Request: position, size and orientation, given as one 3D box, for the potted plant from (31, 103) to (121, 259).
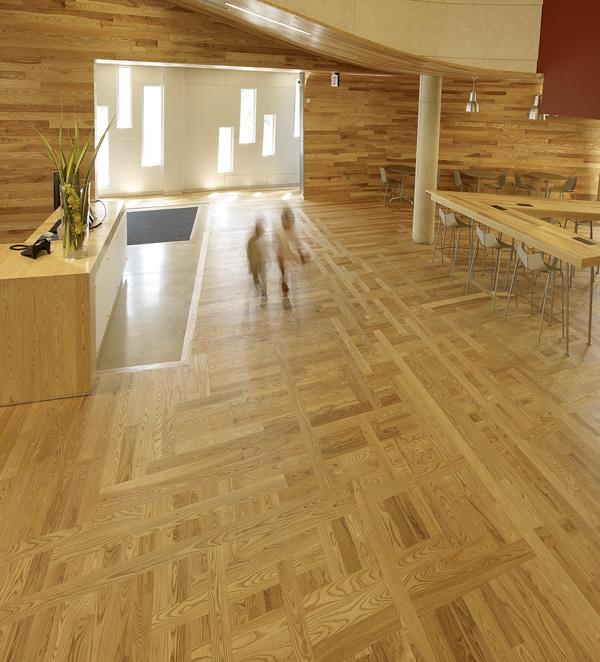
[{"bbox_3d":[-1.634,-1.018,3.578,0.433,0.800,0.461,-9,20,-27],"label":"potted plant"}]
